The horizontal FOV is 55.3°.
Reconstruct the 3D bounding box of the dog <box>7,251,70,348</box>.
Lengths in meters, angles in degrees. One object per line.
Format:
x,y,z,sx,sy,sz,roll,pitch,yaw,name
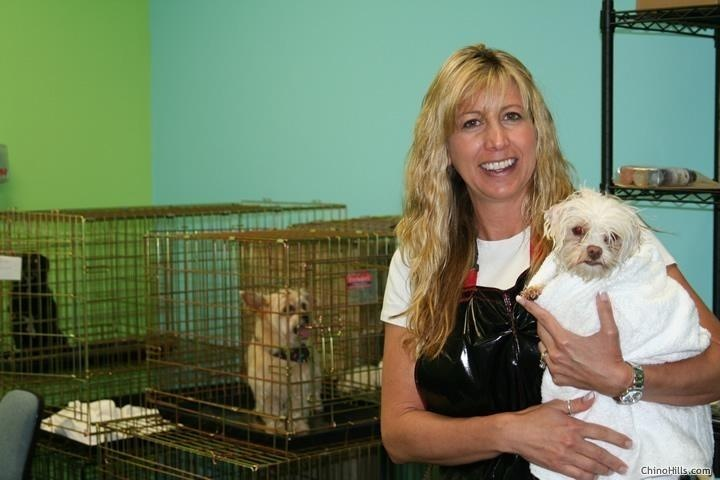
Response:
-2.218,0.461,4.794,0.188,0.803,0.463,2,6,45,dog

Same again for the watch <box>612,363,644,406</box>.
1.006,0.546,2.577,0.072,0.118,0.114,1,43,-10,watch

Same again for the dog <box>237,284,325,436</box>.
-0.462,0.640,3.910,0.539,0.794,0.489,0,2,31,dog

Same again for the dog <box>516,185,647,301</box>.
0.863,0.061,2.739,0.377,0.418,0.419,1,-15,32,dog

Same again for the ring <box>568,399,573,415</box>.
0.801,0.638,2.619,0.018,0.056,0.011,0,2,15,ring
